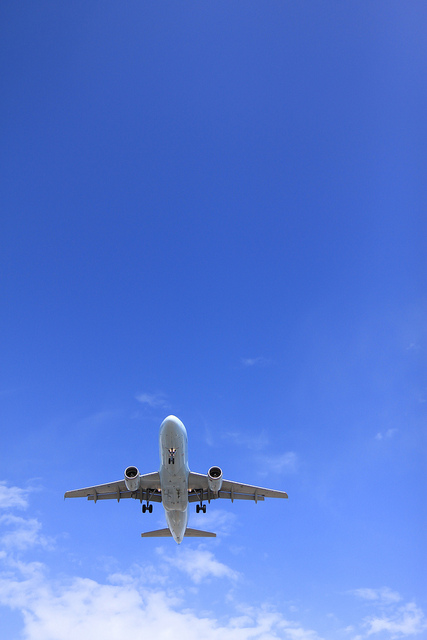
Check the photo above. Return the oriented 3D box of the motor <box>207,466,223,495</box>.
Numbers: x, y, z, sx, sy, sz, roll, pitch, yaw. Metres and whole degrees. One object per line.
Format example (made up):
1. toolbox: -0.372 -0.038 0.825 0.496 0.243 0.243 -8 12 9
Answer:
1. motor: 0.573 10.822 63.543 0.889 1.366 3.892 1 -27 -1

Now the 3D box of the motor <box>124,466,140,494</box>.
1. motor: -4.749 10.794 63.753 0.856 1.394 1.380 1 -25 0

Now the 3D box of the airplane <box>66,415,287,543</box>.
1. airplane: -2.121 12.170 66.919 14.687 14.400 5.054 -1 19 2
